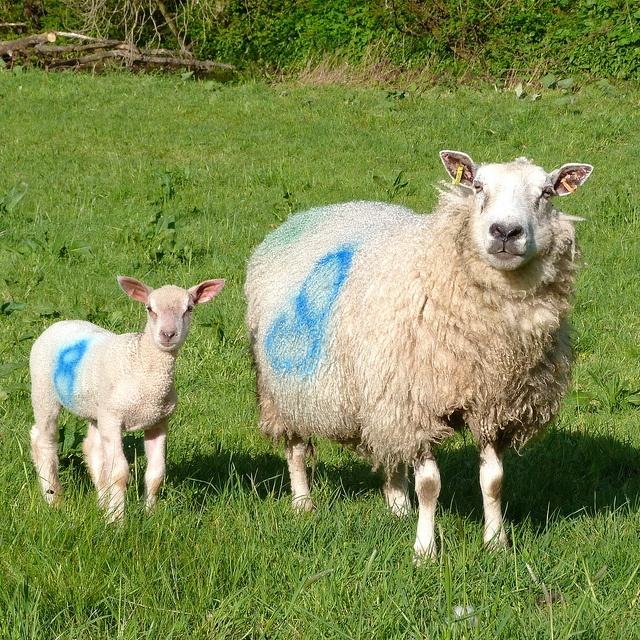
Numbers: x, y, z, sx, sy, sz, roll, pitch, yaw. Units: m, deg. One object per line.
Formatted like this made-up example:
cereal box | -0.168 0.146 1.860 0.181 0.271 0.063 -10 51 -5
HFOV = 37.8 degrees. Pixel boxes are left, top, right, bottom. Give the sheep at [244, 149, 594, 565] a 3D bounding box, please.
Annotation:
sheep | 0.374 0.031 4.440 0.872 1.585 1.561 -16 24 -41

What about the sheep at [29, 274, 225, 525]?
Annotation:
sheep | -0.954 0.338 4.307 1.103 1.126 0.429 5 5 42
